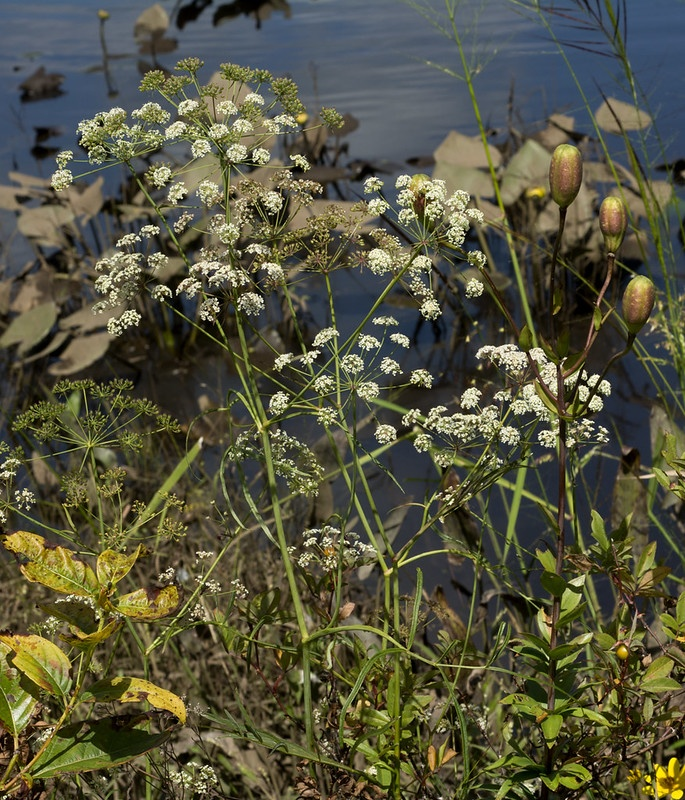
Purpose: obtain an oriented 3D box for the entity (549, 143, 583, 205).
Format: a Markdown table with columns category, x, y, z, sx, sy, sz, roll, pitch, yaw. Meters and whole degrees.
| category | x | y | z | sx | sy | sz | roll | pitch | yaw |
| --- | --- | --- | --- | --- | --- | --- | --- | --- | --- |
| entity | 0.331 | -0.322 | 1.608 | 0.047 | 0.113 | 0.140 | -4 | 30 | 12 |
